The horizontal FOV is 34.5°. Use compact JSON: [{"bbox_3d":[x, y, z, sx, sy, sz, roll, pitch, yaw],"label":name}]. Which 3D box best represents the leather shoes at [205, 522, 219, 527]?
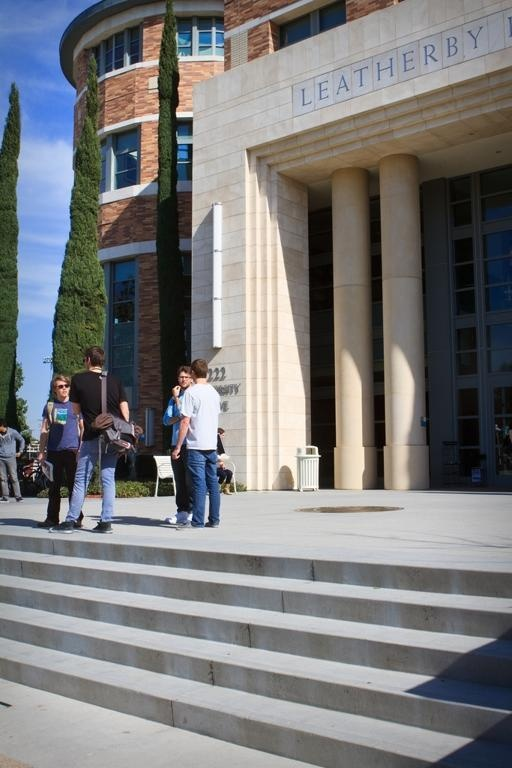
[{"bbox_3d":[-0.440,1.444,8.406,0.050,0.069,0.142,5,-14,-28],"label":"leather shoes"}]

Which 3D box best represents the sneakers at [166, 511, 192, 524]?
[{"bbox_3d":[-0.846,1.444,8.830,0.297,0.147,0.128,1,-5,14],"label":"sneakers"}]

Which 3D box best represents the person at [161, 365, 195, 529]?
[{"bbox_3d":[-0.780,0.682,9.025,0.350,1.707,0.461,-1,4,-24],"label":"person"}]

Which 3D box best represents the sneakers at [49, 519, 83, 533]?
[{"bbox_3d":[-1.942,1.441,8.352,0.363,0.162,0.144,-4,-11,23],"label":"sneakers"}]

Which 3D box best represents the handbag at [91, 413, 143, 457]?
[{"bbox_3d":[-1.355,0.473,8.301,0.299,0.325,0.533,-8,10,31],"label":"handbag"}]

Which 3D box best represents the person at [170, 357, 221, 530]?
[{"bbox_3d":[-0.534,0.741,8.377,0.468,1.110,0.399,-11,7,0],"label":"person"}]

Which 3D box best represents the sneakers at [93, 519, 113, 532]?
[{"bbox_3d":[-1.524,1.408,8.125,0.281,0.089,0.120,-6,10,42],"label":"sneakers"}]

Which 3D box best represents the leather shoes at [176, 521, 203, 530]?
[{"bbox_3d":[-0.672,1.447,8.348,0.271,0.123,0.108,0,-15,20],"label":"leather shoes"}]
